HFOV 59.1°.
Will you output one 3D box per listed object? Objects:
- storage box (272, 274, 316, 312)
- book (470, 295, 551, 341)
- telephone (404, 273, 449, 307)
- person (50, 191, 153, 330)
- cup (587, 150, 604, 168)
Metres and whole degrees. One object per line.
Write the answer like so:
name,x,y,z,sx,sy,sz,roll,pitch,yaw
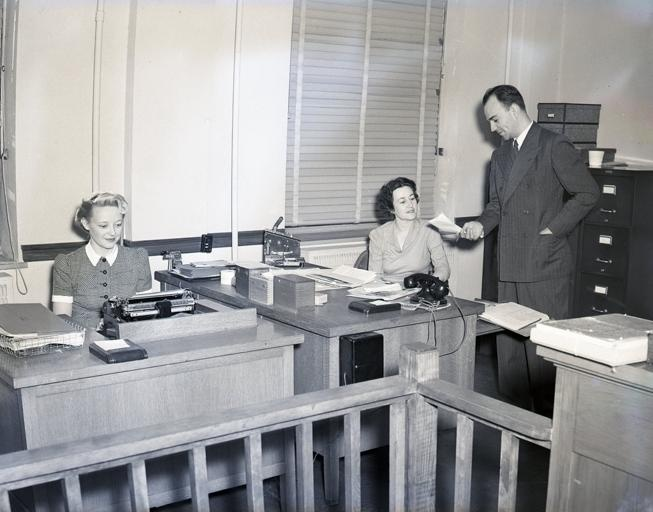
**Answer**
storage box,-0.193,0.228,3.040,0.134,0.185,0.250,24,-7,-25
book,1.024,0.337,3.192,0.277,0.077,0.304,23,13,32
telephone,0.530,0.176,3.054,0.259,0.146,0.100,15,9,37
person,-1.272,0.137,3.300,0.510,1.070,0.313,-2,22,-26
cup,2.215,-0.795,4.776,0.136,0.169,0.148,0,1,0
